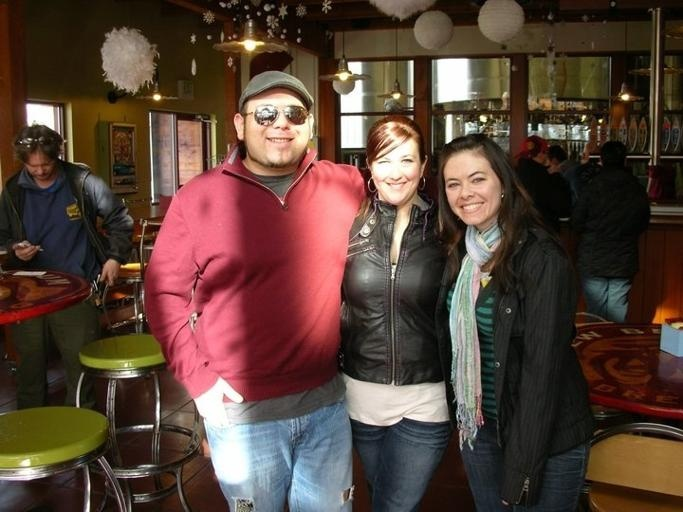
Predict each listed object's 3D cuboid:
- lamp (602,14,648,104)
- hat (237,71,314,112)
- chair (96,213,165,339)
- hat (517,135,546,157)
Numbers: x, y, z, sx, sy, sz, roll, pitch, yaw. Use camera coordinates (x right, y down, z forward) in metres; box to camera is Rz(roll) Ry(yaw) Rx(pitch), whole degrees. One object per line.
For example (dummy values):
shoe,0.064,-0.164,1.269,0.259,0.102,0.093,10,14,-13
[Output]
lamp,4.868,-3.272,9.637,0.434,1.297,0.465,6,17,16
hat,-0.258,-0.635,2.046,0.217,0.073,0.172,-23,16,-19
chair,-2.257,0.312,5.968,0.680,0.804,0.731,-14,11,-6
hat,1.882,-1.109,5.639,0.260,0.279,0.071,-7,12,-21
